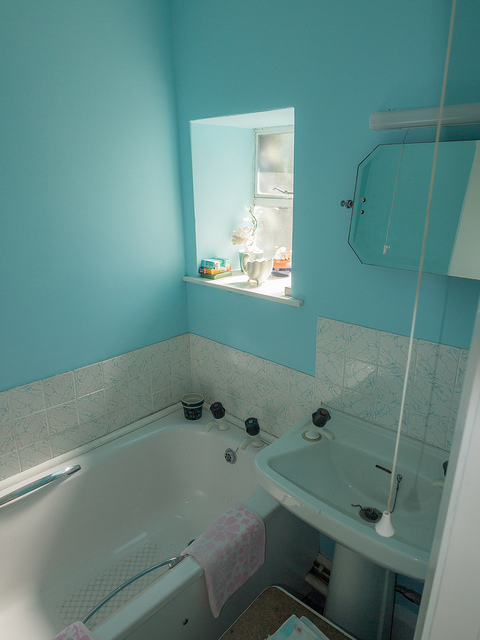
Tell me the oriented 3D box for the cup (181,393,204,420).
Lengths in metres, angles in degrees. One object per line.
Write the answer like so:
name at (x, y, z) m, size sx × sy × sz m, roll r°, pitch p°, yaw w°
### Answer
cup at (-0.216, 0.428, 2.442) m, size 0.118 × 0.085 × 0.107 m, roll -2°, pitch 12°, yaw 0°

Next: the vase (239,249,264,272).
vase at (0.055, -0.284, 2.299) m, size 0.097 × 0.079 × 0.105 m, roll -6°, pitch 19°, yaw -17°

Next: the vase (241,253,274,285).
vase at (0.080, -0.234, 2.210) m, size 0.144 × 0.122 × 0.133 m, roll 7°, pitch 11°, yaw 30°

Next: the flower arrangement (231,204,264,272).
flower arrangement at (0.048, -0.414, 2.381) m, size 0.163 × 0.300 × 0.140 m, roll -5°, pitch 14°, yaw -12°
